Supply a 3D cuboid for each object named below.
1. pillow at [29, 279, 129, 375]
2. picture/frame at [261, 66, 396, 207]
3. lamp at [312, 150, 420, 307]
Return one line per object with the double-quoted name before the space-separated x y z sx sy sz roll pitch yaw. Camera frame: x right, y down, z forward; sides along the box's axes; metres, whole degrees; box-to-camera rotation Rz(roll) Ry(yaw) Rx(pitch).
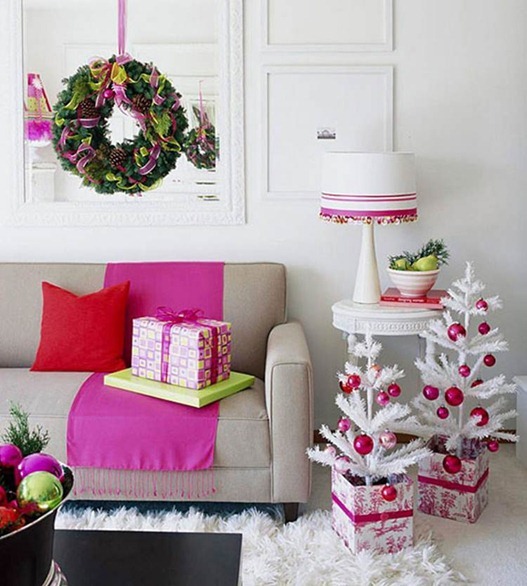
"pillow" -0.704 0.145 2.404 0.328 0.321 0.122 0 -20 -1
"picture/frame" 0.284 -0.677 2.602 0.632 0.643 0.030 0 5 4
"lamp" 0.407 -0.254 2.438 0.368 0.600 0.258 2 7 5
